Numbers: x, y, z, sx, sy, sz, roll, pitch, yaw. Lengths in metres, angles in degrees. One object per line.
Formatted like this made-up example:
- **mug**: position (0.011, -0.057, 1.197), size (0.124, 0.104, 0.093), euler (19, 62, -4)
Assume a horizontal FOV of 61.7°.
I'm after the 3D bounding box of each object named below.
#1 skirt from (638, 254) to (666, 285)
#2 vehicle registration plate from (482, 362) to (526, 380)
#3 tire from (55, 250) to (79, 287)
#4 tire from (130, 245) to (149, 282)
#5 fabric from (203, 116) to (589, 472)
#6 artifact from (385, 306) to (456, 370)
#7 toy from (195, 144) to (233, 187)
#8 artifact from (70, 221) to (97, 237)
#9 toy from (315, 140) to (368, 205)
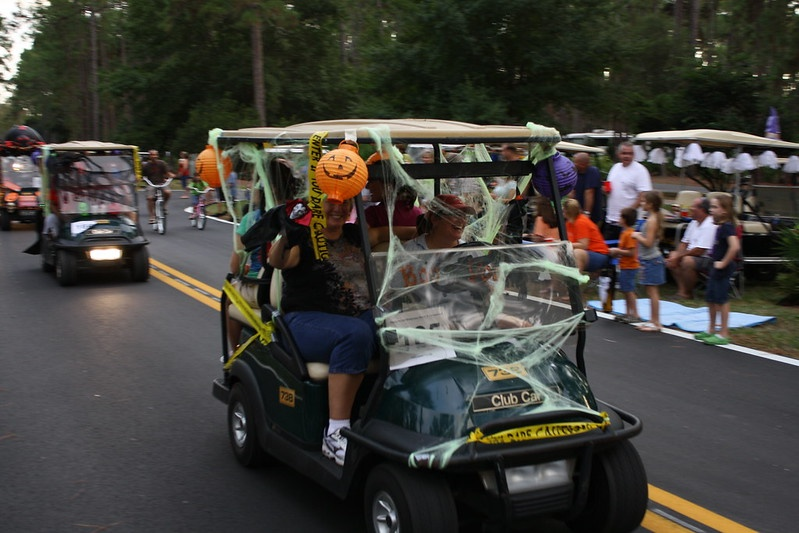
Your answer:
- **skirt**: position (3.413, 0.023, 9.128), size (0.286, 0.366, 0.434), euler (7, -8, -12)
- **vehicle registration plate**: position (0.642, 0.647, 4.143), size (0.219, 0.024, 0.105), euler (-3, 23, -15)
- **tire**: position (-5.758, 0.002, 11.618), size (0.326, 0.617, 0.717), euler (0, 2, -34)
- **tire**: position (-4.623, -0.074, 11.911), size (0.343, 0.640, 0.724), euler (0, 2, -14)
- **fabric**: position (0.326, 0.110, 5.427), size (1.995, 2.106, 3.218), euler (-3, 5, -34)
- **artifact**: position (0.122, 0.467, 4.302), size (0.458, 0.389, 0.226), euler (0, 10, -1)
- **toy**: position (-1.546, -0.837, 5.482), size (0.361, 0.345, 0.352), euler (-3, 5, -28)
- **artifact**: position (-5.584, -0.693, 11.865), size (0.421, 0.237, 0.281), euler (-3, 9, -23)
- **toy**: position (-0.344, -0.590, 4.226), size (0.398, 0.370, 0.352), euler (4, -9, -6)
